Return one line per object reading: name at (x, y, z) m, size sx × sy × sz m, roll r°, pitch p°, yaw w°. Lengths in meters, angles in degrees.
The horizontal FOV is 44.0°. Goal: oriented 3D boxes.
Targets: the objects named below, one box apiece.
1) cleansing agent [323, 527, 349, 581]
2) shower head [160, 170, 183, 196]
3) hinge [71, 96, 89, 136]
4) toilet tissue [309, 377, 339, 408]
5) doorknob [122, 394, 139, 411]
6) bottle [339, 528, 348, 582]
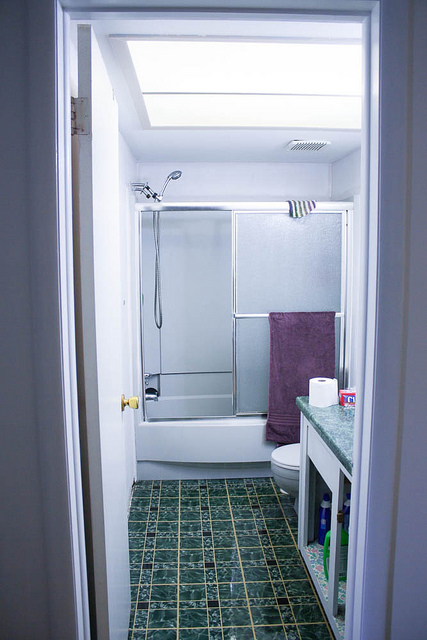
cleansing agent at (0.436, 0.816, 1.916) m, size 0.076 × 0.216 × 0.150 m, roll 1°, pitch 3°, yaw -5°
shower head at (-0.235, -0.760, 2.903) m, size 0.105 × 0.161 × 0.280 m, roll -1°, pitch 5°, yaw -2°
hinge at (-0.289, -0.446, 1.148) m, size 0.040 × 0.086 × 0.023 m, roll -3°, pitch 6°, yaw -20°
toilet tissue at (0.444, 0.286, 2.151) m, size 0.102 × 0.108 × 0.108 m, roll -1°, pitch 1°, yaw 0°
doorknob at (-0.236, 0.232, 1.527) m, size 0.053 × 0.064 × 0.045 m, roll -2°, pitch -2°, yaw 11°
bottle at (0.476, 0.836, 1.942) m, size 0.028 × 0.195 × 0.129 m, roll 0°, pitch 6°, yaw 14°
